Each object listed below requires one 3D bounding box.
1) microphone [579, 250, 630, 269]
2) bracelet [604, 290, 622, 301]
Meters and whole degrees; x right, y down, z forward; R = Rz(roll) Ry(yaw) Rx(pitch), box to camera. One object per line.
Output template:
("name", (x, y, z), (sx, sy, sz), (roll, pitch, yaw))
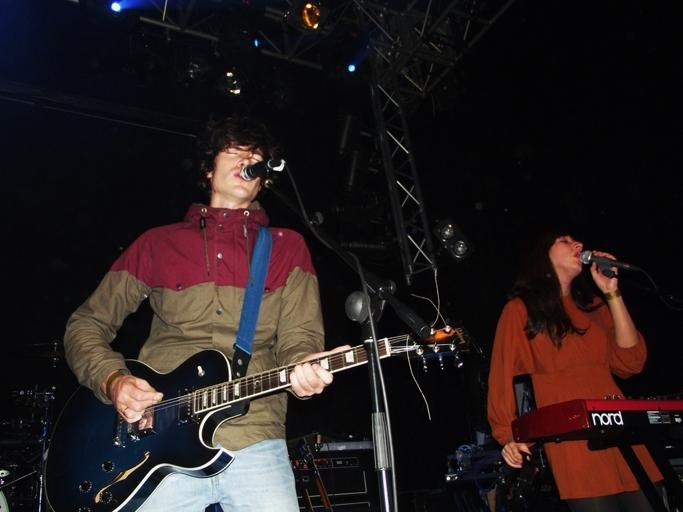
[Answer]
("microphone", (2.114, 0.030, 4.040), (0.109, 0.102, 0.365), (39, -14, -35))
("bracelet", (1.952, 0.289, 3.603), (0.084, 0.072, 0.090), (-2, -14, 12))
